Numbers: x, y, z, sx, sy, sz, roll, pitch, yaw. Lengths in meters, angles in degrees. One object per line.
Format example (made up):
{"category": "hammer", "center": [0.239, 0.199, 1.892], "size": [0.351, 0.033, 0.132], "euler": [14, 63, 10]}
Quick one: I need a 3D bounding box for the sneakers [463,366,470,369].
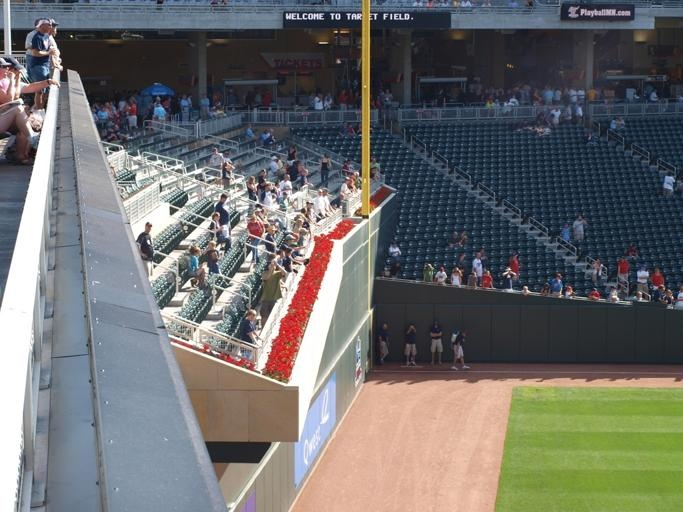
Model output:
{"category": "sneakers", "center": [3.287, 2.898, 27.379], "size": [0.193, 0.066, 0.140], "euler": [4, -3, 3]}

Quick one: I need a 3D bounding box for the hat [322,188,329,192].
{"category": "hat", "center": [-0.356, -1.536, 24.418], "size": [0.094, 0.050, 0.136], "euler": [1, -3, 4]}

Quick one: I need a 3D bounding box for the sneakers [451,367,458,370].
{"category": "sneakers", "center": [2.970, 2.912, 27.256], "size": [0.052, 0.108, 0.149], "euler": [5, -9, -37]}
